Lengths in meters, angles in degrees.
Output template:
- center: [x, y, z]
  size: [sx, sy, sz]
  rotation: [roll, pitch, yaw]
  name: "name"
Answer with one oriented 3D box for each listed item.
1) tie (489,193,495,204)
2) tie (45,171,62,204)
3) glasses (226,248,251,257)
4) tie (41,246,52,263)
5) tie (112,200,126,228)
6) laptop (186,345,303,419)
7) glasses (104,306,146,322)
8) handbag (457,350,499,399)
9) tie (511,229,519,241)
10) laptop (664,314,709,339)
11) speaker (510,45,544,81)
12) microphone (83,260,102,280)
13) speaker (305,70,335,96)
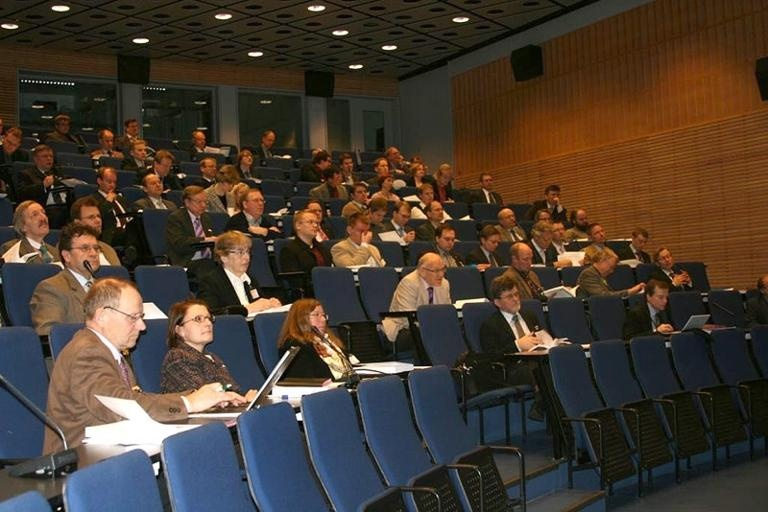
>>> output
- center: [1.794, -0.951, 11.207]
  size: [0.138, 0.167, 0.048]
  rotation: [0, -15, -30]
  name: "tie"
- center: [-3.804, -0.770, 7.634]
  size: [0.302, 0.352, 0.127]
  rotation: [2, 7, 18]
  name: "tie"
- center: [-1.186, -0.038, 5.461]
  size: [0.155, 0.054, 0.047]
  rotation: [-1, -1, -20]
  name: "glasses"
- center: [-2.779, -0.025, 5.547]
  size: [0.086, 0.141, 0.247]
  rotation: [-1, -1, -18]
  name: "tie"
- center: [-2.956, -0.457, 7.485]
  size: [0.145, 0.353, 0.283]
  rotation: [-1, 1, -17]
  name: "tie"
- center: [-0.717, 0.685, 3.693]
  size: [0.456, 0.238, 0.430]
  rotation: [0, -10, 9]
  name: "laptop"
- center: [-1.402, 0.308, 3.649]
  size: [0.116, 0.031, 0.105]
  rotation: [15, -5, 4]
  name: "glasses"
- center: [0.757, 0.946, 5.482]
  size: [0.307, 0.343, 0.161]
  rotation: [-3, 1, -32]
  name: "handbag"
- center: [1.745, -0.273, 9.020]
  size: [0.116, 0.141, 0.053]
  rotation: [-8, -30, -28]
  name: "tie"
- center: [3.027, 0.682, 6.663]
  size: [0.300, 0.158, 0.268]
  rotation: [6, -4, -39]
  name: "laptop"
- center: [2.729, -3.620, 12.738]
  size: [0.369, 0.608, 0.704]
  rotation: [-27, 23, -36]
  name: "speaker"
- center: [-2.094, 0.099, 4.808]
  size: [0.096, 0.122, 0.046]
  rotation: [-23, -1, 38]
  name: "microphone"
- center: [-1.433, -3.819, 15.097]
  size: [0.693, 0.548, 0.169]
  rotation: [-7, 8, -22]
  name: "speaker"
